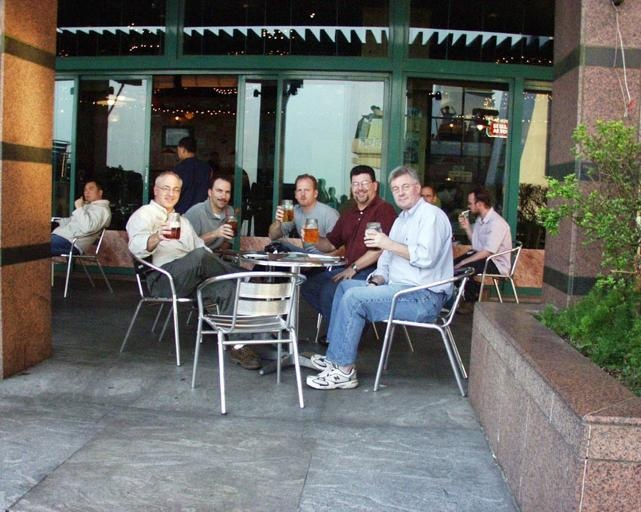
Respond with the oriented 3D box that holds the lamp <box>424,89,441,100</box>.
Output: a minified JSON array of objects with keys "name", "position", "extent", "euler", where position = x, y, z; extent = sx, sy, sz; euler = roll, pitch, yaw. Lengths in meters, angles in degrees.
[{"name":"lamp","position":[1.482,-2.133,7.359],"extent":[0.174,0.146,0.105],"euler":[-20,28,-36]}]

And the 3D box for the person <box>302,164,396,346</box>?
[{"name":"person","position":[0.201,0.026,4.775],"extent":[1.021,1.606,0.727],"euler":[-11,23,-21]}]

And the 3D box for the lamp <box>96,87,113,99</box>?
[{"name":"lamp","position":[-3.047,-2.342,7.941],"extent":[0.174,0.153,0.039],"euler":[4,9,3]}]

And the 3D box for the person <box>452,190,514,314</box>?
[{"name":"person","position":[1.799,-0.056,6.184],"extent":[0.767,1.270,0.611],"euler":[-2,14,18]}]

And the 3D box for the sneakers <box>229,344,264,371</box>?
[{"name":"sneakers","position":[-0.541,0.753,4.162],"extent":[0.106,0.163,0.337],"euler":[-11,15,-26]}]

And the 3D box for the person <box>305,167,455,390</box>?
[{"name":"person","position":[0.437,0.128,3.833],"extent":[0.928,1.499,0.761],"euler":[4,8,13]}]

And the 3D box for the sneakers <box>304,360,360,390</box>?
[{"name":"sneakers","position":[0.078,0.816,3.746],"extent":[0.385,0.174,0.129],"euler":[2,-3,-7]}]

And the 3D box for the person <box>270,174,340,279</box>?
[{"name":"person","position":[-0.163,-0.280,5.086],"extent":[0.679,0.838,0.703],"euler":[-6,8,3]}]

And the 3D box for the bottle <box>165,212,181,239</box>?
[{"name":"bottle","position":[-1.017,-0.206,3.838],"extent":[0.100,0.188,0.173],"euler":[0,8,-17]}]

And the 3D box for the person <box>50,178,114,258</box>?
[{"name":"person","position":[-2.893,-0.463,6.627],"extent":[0.677,0.854,0.633],"euler":[8,10,39]}]

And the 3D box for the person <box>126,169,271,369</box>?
[{"name":"person","position":[-1.045,0.033,4.433],"extent":[0.946,1.529,0.742],"euler":[-15,-7,39]}]

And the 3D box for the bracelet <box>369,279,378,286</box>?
[{"name":"bracelet","position":[0.377,0.195,4.004],"extent":[0.037,0.017,0.049],"euler":[13,7,-4]}]

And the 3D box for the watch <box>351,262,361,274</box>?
[{"name":"watch","position":[0.275,0.097,4.423],"extent":[0.060,0.087,0.080],"euler":[3,-33,1]}]
